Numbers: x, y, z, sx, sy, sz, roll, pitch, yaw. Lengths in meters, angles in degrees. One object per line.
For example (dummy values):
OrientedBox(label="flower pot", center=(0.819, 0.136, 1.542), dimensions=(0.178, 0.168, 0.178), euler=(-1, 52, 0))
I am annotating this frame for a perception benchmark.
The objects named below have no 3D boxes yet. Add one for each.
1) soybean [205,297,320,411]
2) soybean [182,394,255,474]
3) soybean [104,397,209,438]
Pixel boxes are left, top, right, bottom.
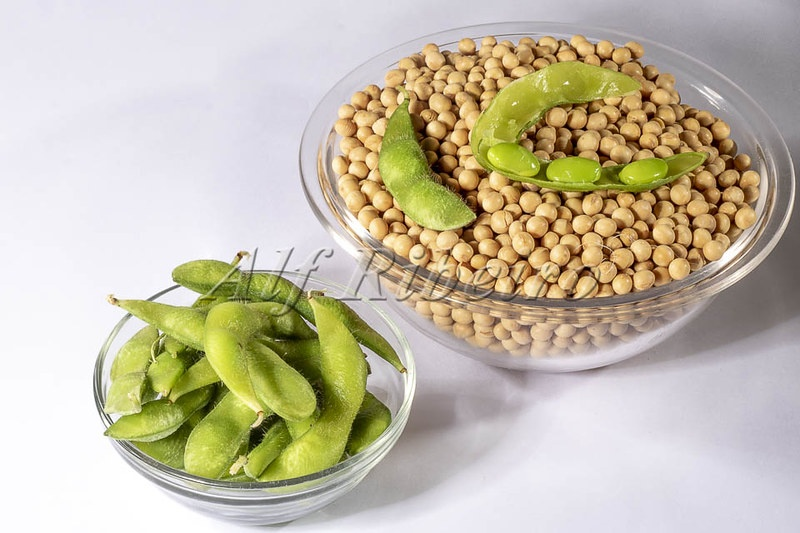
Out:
OrientedBox(label="soybean", center=(-0.238, 0.159, 1.182), dimensions=(0.189, 0.046, 0.132), euler=(44, 38, -1))
OrientedBox(label="soybean", center=(-0.283, 0.259, 1.181), dimensions=(0.081, 0.033, 0.139), euler=(21, 51, 19))
OrientedBox(label="soybean", center=(-0.381, 0.238, 1.171), dimensions=(0.144, 0.050, 0.046), euler=(-10, -9, -24))
